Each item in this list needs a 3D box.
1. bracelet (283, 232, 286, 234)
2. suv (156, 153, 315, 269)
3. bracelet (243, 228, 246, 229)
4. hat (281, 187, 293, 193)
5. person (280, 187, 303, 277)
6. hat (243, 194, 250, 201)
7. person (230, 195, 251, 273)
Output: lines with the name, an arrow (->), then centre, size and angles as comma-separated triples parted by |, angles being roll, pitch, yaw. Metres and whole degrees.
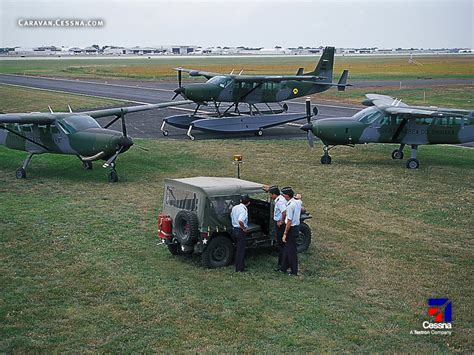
bracelet -> 1.352, 1.592, 11.707 | 0.064, 0.030, 0.051 | -1, 7, -5
suv -> -0.331, 1.144, 13.155 | 4.879, 1.861, 2.805 | -5, 10, -25
bracelet -> 0.199, 1.433, 11.589 | 0.073, 0.042, 0.014 | 7, -7, -7
hat -> 1.417, 0.398, 11.772 | 0.289, 0.174, 0.238 | -1, 12, -12
person -> 1.518, 1.572, 11.819 | 0.587, 2.505, 0.623 | 2, 15, 1
hat -> 0.251, 0.587, 11.703 | 0.187, 0.154, 0.246 | 1, 11, 0
person -> 0.046, 1.747, 11.865 | 0.443, 2.020, 0.450 | 1, 15, -2
